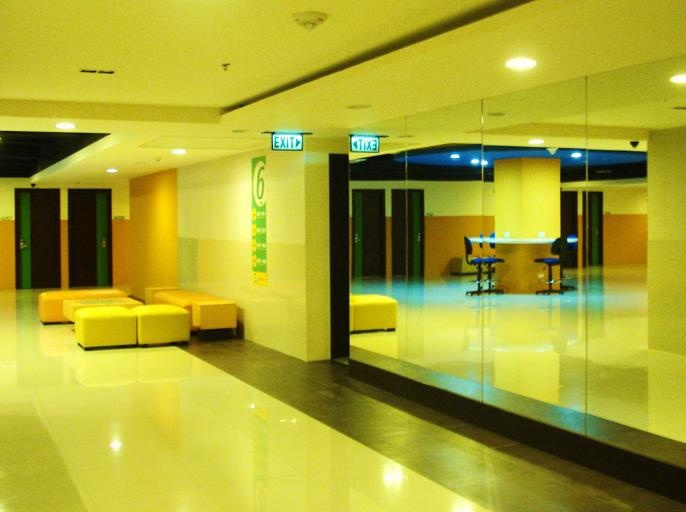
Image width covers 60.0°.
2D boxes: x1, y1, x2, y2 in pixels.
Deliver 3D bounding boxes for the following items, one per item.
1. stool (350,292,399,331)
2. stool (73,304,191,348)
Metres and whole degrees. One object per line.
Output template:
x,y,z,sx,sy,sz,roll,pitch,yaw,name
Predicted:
0.423,0.744,7.901,0.544,0.412,0.539,0,-1,-13,stool
-3.620,1.223,10.246,1.809,0.647,0.610,-1,3,-22,stool
